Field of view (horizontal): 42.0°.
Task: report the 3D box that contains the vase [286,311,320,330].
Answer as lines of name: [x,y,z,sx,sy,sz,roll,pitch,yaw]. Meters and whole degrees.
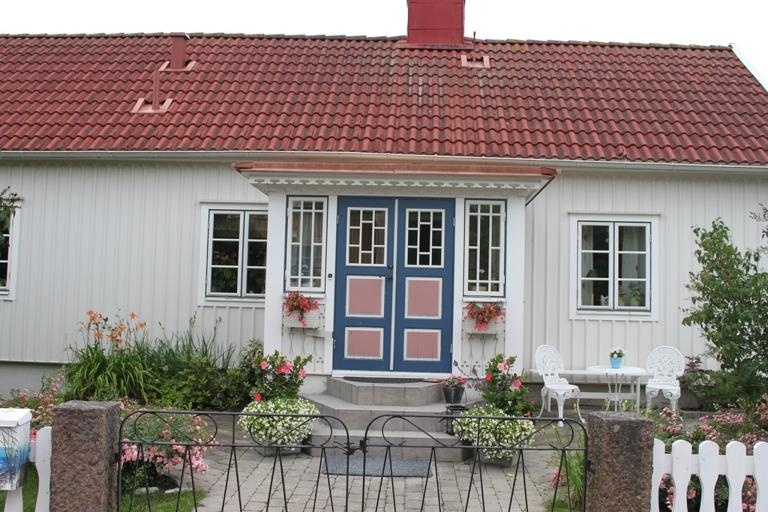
vase: [-1.360,1.072,16.626,0.508,0.265,0.285,1,0,-1]

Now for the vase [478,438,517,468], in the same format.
vase: [1.708,2.980,15.006,0.558,0.423,0.873,1,-7,6]

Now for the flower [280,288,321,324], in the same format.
flower: [-1.403,0.840,16.579,0.502,0.377,0.516,14,1,-3]

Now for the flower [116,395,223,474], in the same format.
flower: [-3.091,2.643,14.038,1.309,0.832,1.343,9,7,-10]

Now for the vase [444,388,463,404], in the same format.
vase: [1.106,2.241,16.101,0.258,0.193,0.266,0,-6,-1]

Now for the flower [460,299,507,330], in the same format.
flower: [1.619,0.972,16.522,0.484,0.347,0.506,1,-3,13]

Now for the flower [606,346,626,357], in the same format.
flower: [3.975,1.654,17.102,0.221,0.131,0.228,0,-3,22]

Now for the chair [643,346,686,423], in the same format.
chair: [4.710,2.169,16.840,0.467,1.087,0.777,4,21,5]

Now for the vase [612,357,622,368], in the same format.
vase: [3.947,1.821,17.040,0.169,0.138,0.175,-1,-8,17]

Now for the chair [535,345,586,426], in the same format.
chair: [2.968,2.226,17.234,0.778,1.372,1.306,0,-6,8]
